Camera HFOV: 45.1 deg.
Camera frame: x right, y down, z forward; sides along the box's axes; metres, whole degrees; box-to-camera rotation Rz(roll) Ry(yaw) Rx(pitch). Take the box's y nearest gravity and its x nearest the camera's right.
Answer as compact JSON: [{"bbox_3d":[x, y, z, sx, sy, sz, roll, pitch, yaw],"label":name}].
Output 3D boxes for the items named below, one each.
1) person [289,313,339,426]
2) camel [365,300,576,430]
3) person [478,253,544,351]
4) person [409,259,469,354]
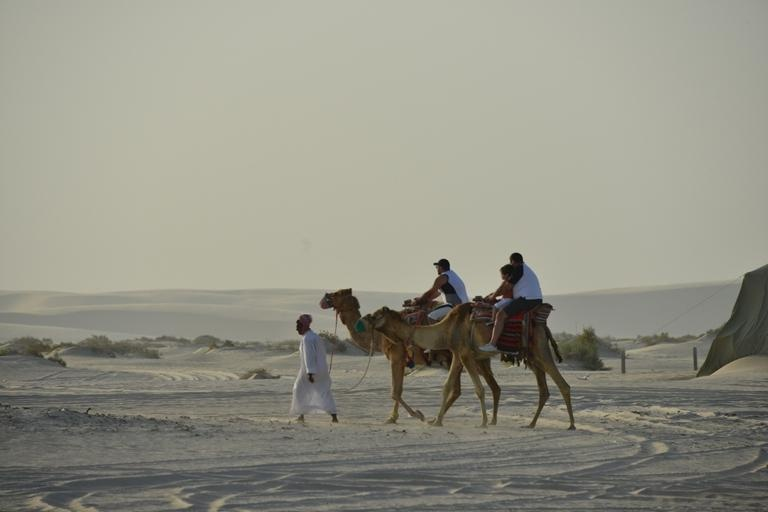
[{"bbox_3d":[-1.308,2.138,17.424,1.063,1.915,0.848,0,-1,-8],"label":"person"},{"bbox_3d":[1.800,1.650,16.927,2.138,3.397,2.343,-4,-6,39],"label":"camel"},{"bbox_3d":[2.289,0.853,16.372,1.072,1.794,0.403,0,-4,0],"label":"person"},{"bbox_3d":[1.033,0.958,17.201,1.366,1.759,0.730,2,-8,10],"label":"person"}]
